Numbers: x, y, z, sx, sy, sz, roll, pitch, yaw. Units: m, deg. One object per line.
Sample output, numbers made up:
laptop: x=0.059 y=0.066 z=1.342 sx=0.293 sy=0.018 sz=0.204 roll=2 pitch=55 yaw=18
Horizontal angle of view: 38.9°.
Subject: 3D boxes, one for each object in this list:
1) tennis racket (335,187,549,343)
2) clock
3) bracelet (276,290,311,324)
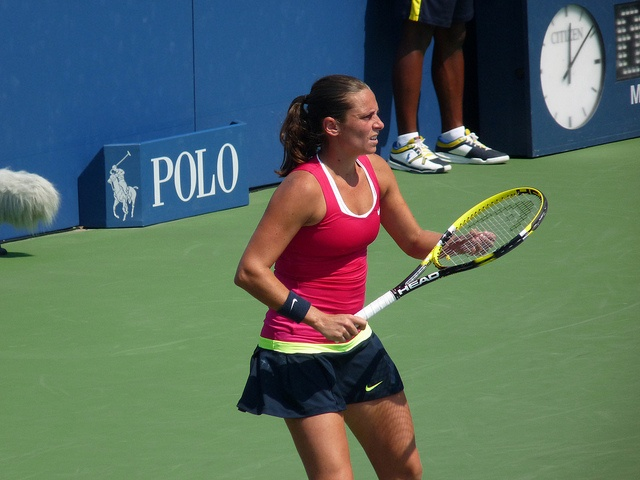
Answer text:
tennis racket: x=0.793 y=0.210 z=5.708 sx=1.673 sy=0.478 sz=0.074 roll=-38 pitch=2 yaw=-22
clock: x=2.829 y=-1.959 z=10.210 sx=0.951 sy=1.342 sz=0.275 roll=-7 pitch=3 yaw=-37
bracelet: x=-0.120 y=0.310 z=4.210 sx=0.101 sy=0.129 sz=0.130 roll=32 pitch=-46 yaw=-21
